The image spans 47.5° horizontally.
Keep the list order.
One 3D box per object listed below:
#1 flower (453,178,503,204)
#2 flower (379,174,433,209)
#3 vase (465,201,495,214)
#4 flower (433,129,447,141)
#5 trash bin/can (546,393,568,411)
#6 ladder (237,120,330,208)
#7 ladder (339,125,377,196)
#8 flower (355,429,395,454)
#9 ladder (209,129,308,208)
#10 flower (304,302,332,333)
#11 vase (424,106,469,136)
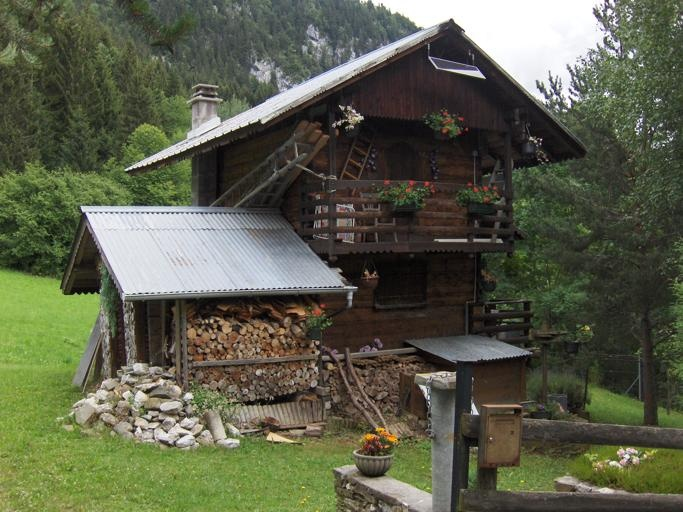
[{"bbox_3d":[4.429,-2.016,25.316,1.433,0.732,0.422,6,-7,-15],"label":"flower"},{"bbox_3d":[1.929,-1.966,24.086,1.105,0.622,1.109,0,0,-9],"label":"flower"},{"bbox_3d":[4.493,-1.584,25.293,0.630,0.234,0.423,4,-4,-32],"label":"vase"},{"bbox_3d":[3.197,-4.023,25.512,0.442,0.393,0.383,1,2,2],"label":"flower"},{"bbox_3d":[7.874,5.374,28.667,0.785,0.803,0.803,-2,-4,35],"label":"trash bin/can"},{"bbox_3d":[-1.800,-2.970,24.998,1.237,1.022,3.792,30,-47,-26],"label":"ladder"},{"bbox_3d":[0.525,-3.458,25.867,1.142,1.868,0.375,10,-9,-43],"label":"ladder"},{"bbox_3d":[0.827,4.279,17.866,0.666,0.556,0.667,0,4,-27],"label":"flower"},{"bbox_3d":[-2.658,-2.955,25.687,0.411,0.785,3.166,31,-42,-28],"label":"ladder"},{"bbox_3d":[-0.770,1.801,22.974,0.805,0.544,0.777,1,0,-44],"label":"flower"},{"bbox_3d":[3.299,-4.400,25.488,1.067,0.731,0.990,3,3,-29],"label":"vase"}]
